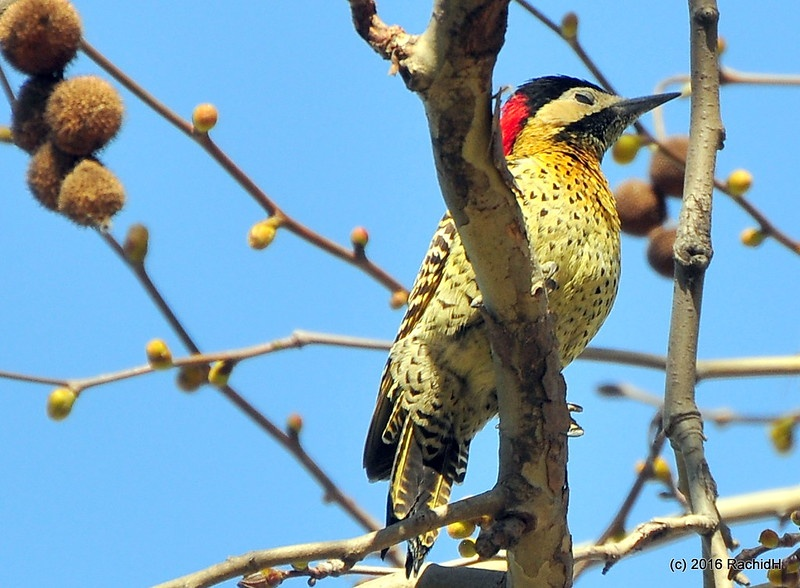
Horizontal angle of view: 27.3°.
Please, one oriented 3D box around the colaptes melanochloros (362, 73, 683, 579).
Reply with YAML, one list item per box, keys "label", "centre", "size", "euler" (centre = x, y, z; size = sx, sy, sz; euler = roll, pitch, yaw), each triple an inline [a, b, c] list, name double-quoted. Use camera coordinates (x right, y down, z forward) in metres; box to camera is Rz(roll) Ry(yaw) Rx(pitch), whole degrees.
- label: "colaptes melanochloros"
  centre: [0.414, -0.024, 6.726]
  size: [1.067, 1.772, 0.714]
  euler: [-11, -31, 26]
